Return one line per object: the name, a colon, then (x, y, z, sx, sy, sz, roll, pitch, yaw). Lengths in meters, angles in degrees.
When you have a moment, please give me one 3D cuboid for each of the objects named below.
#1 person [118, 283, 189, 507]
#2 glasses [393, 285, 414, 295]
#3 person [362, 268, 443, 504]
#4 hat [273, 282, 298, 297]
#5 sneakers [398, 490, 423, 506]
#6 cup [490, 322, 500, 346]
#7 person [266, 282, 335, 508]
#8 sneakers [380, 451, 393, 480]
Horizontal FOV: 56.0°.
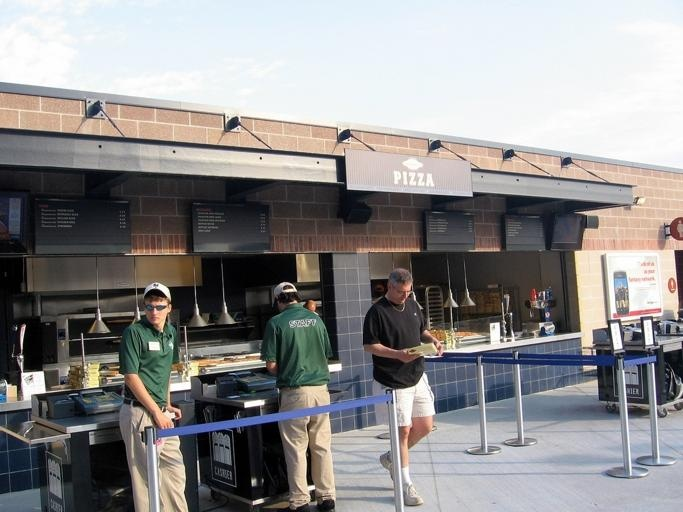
person: (-1.623, 1.263, 5.491, 0.518, 2.043, 0.612, -3, -1, -15)
glasses: (0.603, 0.339, 6.446, 0.235, 0.071, 0.230, 1, -12, -12)
person: (0.661, 1.297, 6.411, 0.773, 1.933, 0.574, -3, -2, -31)
hat: (-0.504, 0.340, 6.600, 0.230, 0.154, 0.359, 4, -8, -29)
sneakers: (0.692, 2.411, 6.384, 0.088, 0.097, 0.224, 4, -10, -37)
cup: (2.591, 1.295, 10.905, 0.174, 0.314, 0.380, -4, -1, 11)
person: (-0.397, 1.394, 6.281, 0.709, 1.668, 0.476, -3, -1, -16)
sneakers: (0.460, 2.116, 6.541, 0.117, 0.138, 0.335, 7, 2, -6)
